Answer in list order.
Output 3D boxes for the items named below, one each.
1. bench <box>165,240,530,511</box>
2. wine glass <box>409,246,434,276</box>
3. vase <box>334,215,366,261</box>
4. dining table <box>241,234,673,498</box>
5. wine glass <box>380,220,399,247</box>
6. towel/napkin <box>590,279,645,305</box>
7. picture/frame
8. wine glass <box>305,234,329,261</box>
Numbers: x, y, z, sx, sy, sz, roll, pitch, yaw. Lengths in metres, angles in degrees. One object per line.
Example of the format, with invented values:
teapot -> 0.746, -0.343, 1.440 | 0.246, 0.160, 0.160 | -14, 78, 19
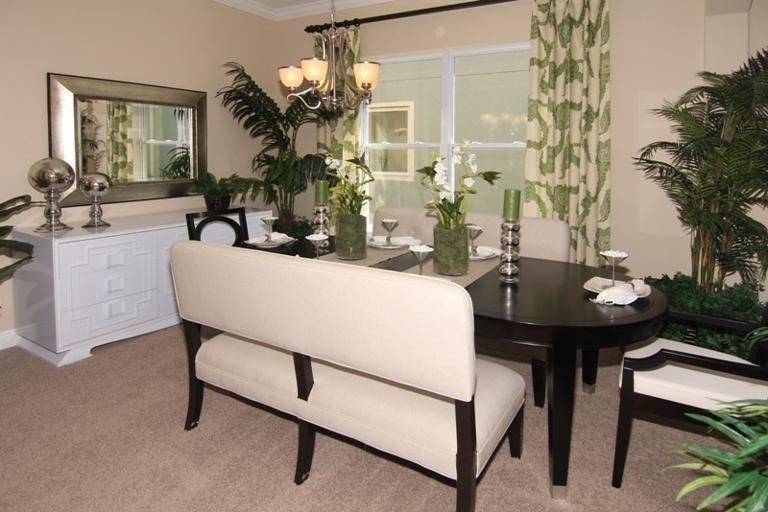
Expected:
bench -> -0.188, 0.690, 2.825 | 1.245, 0.870, 0.615 | 9, 17, 28
wine glass -> 0.217, 0.027, 3.174 | 0.173, 0.198, 0.182 | 1, 0, 22
vase -> -0.202, -0.123, 3.458 | 0.262, 0.308, 0.272 | 1, 1, 19
dining table -> 0.878, 0.375, 2.851 | 1.446, 0.871, 1.189 | 4, 7, 39
wine glass -> 0.040, -0.171, 3.873 | 0.179, 0.214, 0.186 | 0, 2, -2
towel/napkin -> 1.332, 0.208, 2.915 | 0.212, 0.052, 0.147 | -8, 8, -27
picture/frame -> -2.399, -1.067, 4.848 | 0.051, 1.053, 1.420 | 9, 11, 34
wine glass -> -0.439, -0.064, 3.649 | 0.167, 0.192, 0.170 | -3, 3, -35
